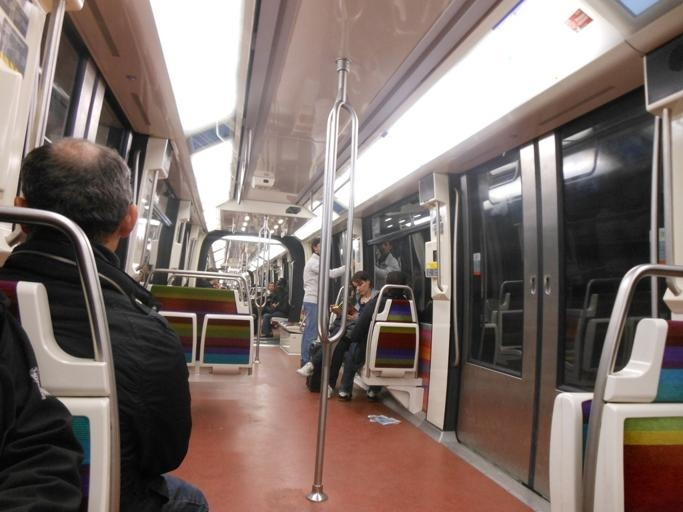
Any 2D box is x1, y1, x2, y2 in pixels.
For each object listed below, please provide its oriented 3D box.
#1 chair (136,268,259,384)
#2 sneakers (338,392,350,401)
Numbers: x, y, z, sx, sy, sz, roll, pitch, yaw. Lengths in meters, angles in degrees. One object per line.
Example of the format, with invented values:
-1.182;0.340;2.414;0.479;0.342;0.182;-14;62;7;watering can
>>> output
-1.566;0.768;5.296;1.194;1.221;1.211;3;6;-10;chair
0.020;1.723;5.715;0.062;0.067;0.165;-2;-22;21;sneakers
